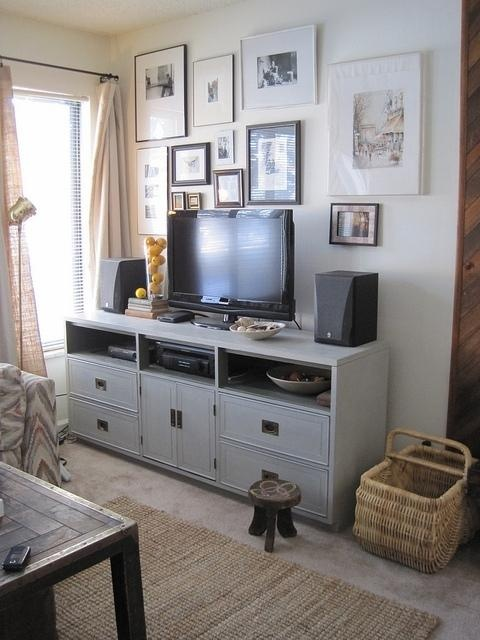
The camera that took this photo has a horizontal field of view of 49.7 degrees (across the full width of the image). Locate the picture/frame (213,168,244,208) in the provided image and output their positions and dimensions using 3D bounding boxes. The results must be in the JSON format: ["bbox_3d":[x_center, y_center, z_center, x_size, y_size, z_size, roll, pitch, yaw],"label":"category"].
[{"bbox_3d":[-0.062,-0.760,2.963,0.017,0.226,0.218,-11,14,-43],"label":"picture/frame"}]

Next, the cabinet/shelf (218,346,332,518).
[{"bbox_3d":[0.225,0.477,2.441,0.608,0.745,0.404,6,14,26],"label":"cabinet/shelf"}]

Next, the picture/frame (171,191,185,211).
[{"bbox_3d":[-0.389,-0.750,3.249,0.139,0.145,0.011,9,14,39],"label":"picture/frame"}]

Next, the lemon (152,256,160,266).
[{"bbox_3d":[-0.506,-0.358,3.117,0.045,0.047,0.044,-18,41,-19],"label":"lemon"}]

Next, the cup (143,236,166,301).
[{"bbox_3d":[-0.524,-0.338,3.217,0.169,0.423,0.154,1,-14,-18],"label":"cup"}]

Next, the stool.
[{"bbox_3d":[0.131,0.772,2.075,0.192,0.212,0.206,6,10,28],"label":"stool"}]

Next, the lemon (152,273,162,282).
[{"bbox_3d":[-0.501,-0.258,3.125,0.040,0.043,0.054,15,47,34],"label":"lemon"}]

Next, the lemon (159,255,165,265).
[{"bbox_3d":[-0.477,-0.368,3.188,0.036,0.050,0.154,0,4,-9],"label":"lemon"}]

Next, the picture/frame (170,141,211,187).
[{"bbox_3d":[-0.291,-0.951,3.141,0.281,0.240,0.031,8,13,41],"label":"picture/frame"}]

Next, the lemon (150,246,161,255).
[{"bbox_3d":[-0.508,-0.416,3.118,0.060,0.048,0.047,-15,-17,-7],"label":"lemon"}]

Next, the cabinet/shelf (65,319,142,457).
[{"bbox_3d":[-0.726,0.370,3.177,0.554,0.747,0.378,6,10,26],"label":"cabinet/shelf"}]

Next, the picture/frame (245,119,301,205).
[{"bbox_3d":[0.184,-0.844,2.738,0.436,0.531,0.038,7,12,41],"label":"picture/frame"}]

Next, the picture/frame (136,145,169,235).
[{"bbox_3d":[-0.575,-0.846,3.409,0.074,0.580,0.329,-3,5,-40],"label":"picture/frame"}]

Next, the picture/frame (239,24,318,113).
[{"bbox_3d":[0.210,-1.295,2.653,0.506,0.391,0.040,9,17,40],"label":"picture/frame"}]

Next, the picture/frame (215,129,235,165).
[{"bbox_3d":[-0.084,-0.993,2.958,0.190,0.261,0.024,8,10,43],"label":"picture/frame"}]

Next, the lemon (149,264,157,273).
[{"bbox_3d":[-0.531,-0.317,3.137,0.040,0.059,0.033,16,11,28],"label":"lemon"}]

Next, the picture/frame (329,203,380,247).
[{"bbox_3d":[0.557,-0.462,2.488,0.201,0.173,0.016,11,16,42],"label":"picture/frame"}]

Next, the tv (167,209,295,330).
[{"bbox_3d":[-0.081,-0.315,2.794,0.919,0.586,0.092,4,5,41],"label":"tv"}]

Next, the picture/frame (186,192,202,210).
[{"bbox_3d":[-0.282,-0.733,3.170,0.017,0.128,0.123,-12,19,-43],"label":"picture/frame"}]

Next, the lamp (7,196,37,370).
[{"bbox_3d":[-1.253,-0.200,2.975,0.157,0.987,0.113,3,5,35],"label":"lamp"}]

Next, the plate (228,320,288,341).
[{"bbox_3d":[0.068,0.043,2.532,0.221,0.084,0.359,-1,4,-13],"label":"plate"}]
